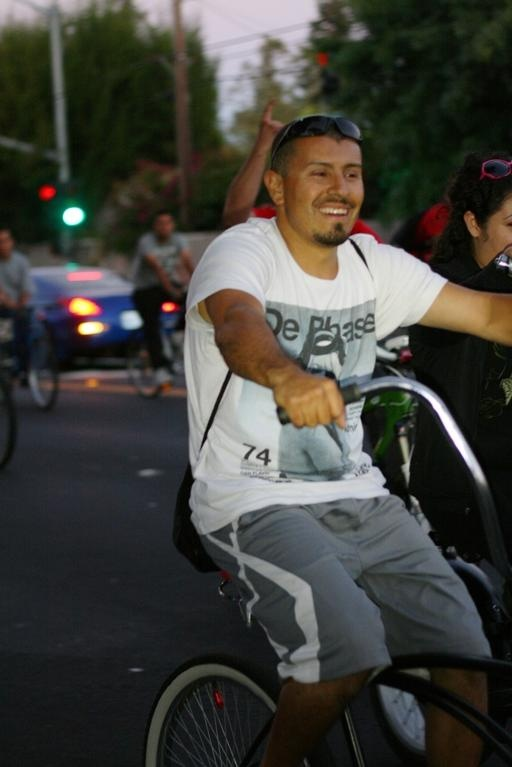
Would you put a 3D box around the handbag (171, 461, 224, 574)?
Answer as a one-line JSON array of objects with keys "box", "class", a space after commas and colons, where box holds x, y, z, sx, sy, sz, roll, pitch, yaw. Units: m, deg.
[{"box": [-0.153, 0.340, 1.800, 0.088, 0.225, 0.166, 6, 37, 4], "class": "handbag"}]
